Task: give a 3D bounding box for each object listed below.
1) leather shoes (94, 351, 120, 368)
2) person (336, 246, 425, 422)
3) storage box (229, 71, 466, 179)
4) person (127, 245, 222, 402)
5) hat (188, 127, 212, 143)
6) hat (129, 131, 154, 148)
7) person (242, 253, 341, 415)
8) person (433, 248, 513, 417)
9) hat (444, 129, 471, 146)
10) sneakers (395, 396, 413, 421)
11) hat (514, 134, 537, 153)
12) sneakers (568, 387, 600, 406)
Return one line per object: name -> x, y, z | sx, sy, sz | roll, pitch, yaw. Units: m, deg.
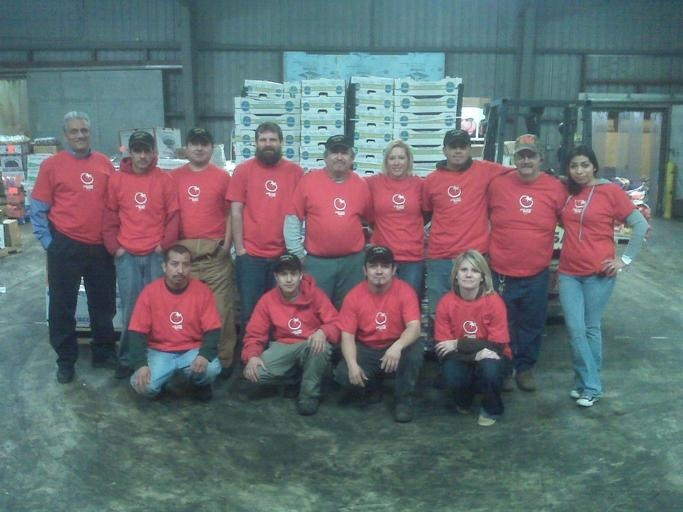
leather shoes -> -2.851, 1.247, 8.951 | 0.293, 0.179, 0.163 | -3, 8, -14
person -> 0.408, 0.816, 8.023 | 0.958, 1.822, 0.701 | -1, 14, 5
storage box -> 0.046, -1.725, 9.687 | 2.118, 0.945, 1.615 | 6, 7, 44
person -> -1.847, 0.809, 8.201 | 1.095, 1.699, 0.975 | -5, 16, -25
hat -> -1.655, -1.408, 8.619 | 0.257, 0.175, 0.403 | 3, -11, -9
hat -> -2.298, -1.342, 8.434 | 0.282, 0.183, 0.224 | -12, 17, -37
person -> -0.569, 0.819, 8.202 | 1.096, 1.687, 0.819 | -2, 14, -1
person -> 1.404, 0.865, 7.912 | 0.824, 1.786, 0.578 | 2, 14, 14
hat -> 1.320, -1.337, 8.417 | 0.239, 0.204, 0.326 | 1, 3, 6
sneakers -> 0.670, 1.644, 7.944 | 0.177, 0.242, 0.179 | -1, 14, 2
hat -> 2.088, -1.272, 8.303 | 0.254, 0.181, 0.315 | 1, 14, 12
sneakers -> 2.671, 1.554, 8.137 | 0.143, 0.141, 0.339 | 1, -16, 43
